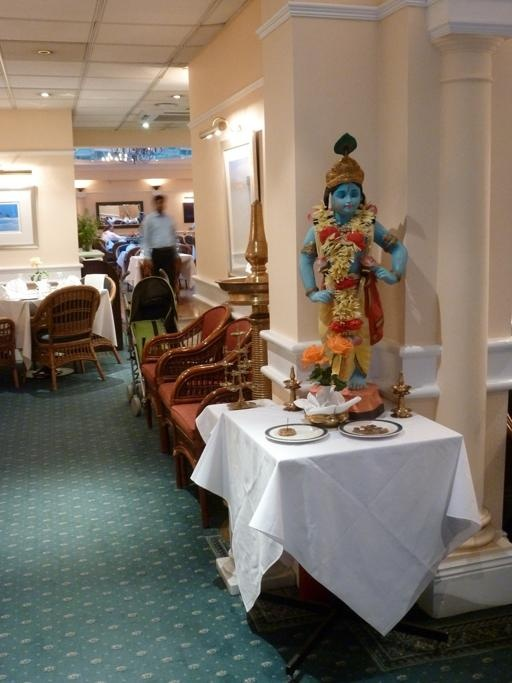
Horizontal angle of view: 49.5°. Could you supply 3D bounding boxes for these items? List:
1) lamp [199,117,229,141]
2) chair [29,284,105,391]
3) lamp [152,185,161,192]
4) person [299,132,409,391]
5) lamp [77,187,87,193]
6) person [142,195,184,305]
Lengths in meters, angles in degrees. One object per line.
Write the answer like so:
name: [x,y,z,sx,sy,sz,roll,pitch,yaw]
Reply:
lamp: [-0.401,-1.928,5.073,0.138,0.156,0.483,-25,19,-11]
chair: [-2.147,-0.107,6.243,0.781,0.947,0.772,-7,9,-28]
lamp: [-3.361,-5.190,18.991,0.349,0.287,0.173,0,6,-4]
person: [0.332,-0.255,1.898,0.330,0.845,0.349,-5,7,-7]
lamp: [-5.810,-5.014,18.417,0.223,0.137,0.152,-8,8,-39]
person: [-1.228,-1.263,7.122,0.449,1.157,0.618,-5,7,-9]
